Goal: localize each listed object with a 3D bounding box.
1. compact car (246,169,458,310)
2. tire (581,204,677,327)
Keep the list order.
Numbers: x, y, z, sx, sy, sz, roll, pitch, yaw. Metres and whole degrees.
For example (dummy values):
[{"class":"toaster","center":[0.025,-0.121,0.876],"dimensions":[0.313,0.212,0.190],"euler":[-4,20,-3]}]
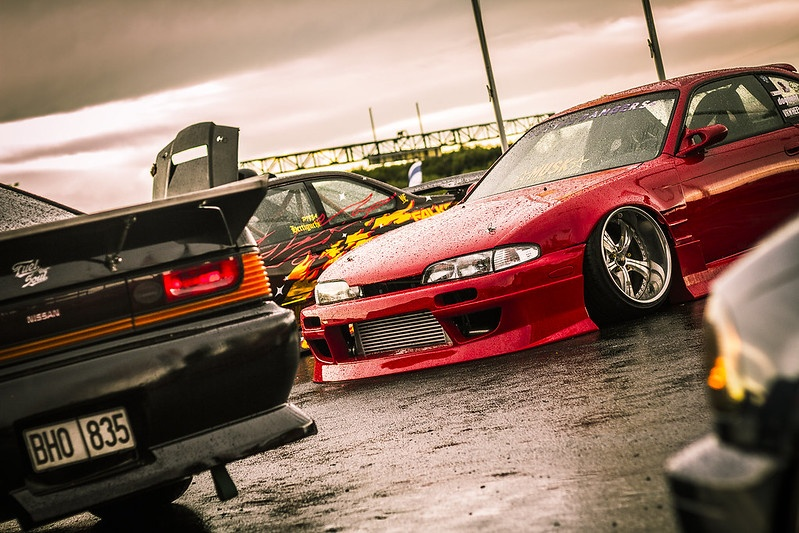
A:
[{"class":"compact car","center":[-0.570,-0.466,7.462],"dimensions":[2.155,0.746,1.235],"euler":[-20,9,-29]},{"class":"tire","center":[1.690,-0.039,5.080],"dimensions":[0.317,0.835,0.859],"euler":[-14,9,35]}]
